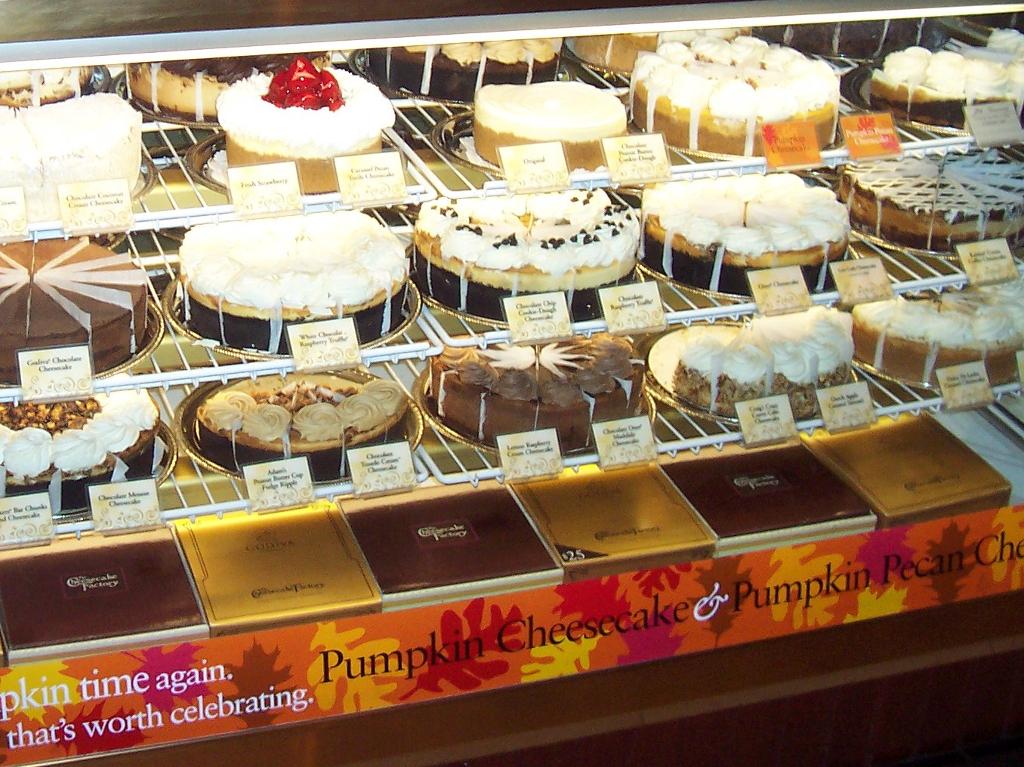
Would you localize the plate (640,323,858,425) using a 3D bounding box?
[{"bbox_3d":[0.754,-0.072,2.963,0.506,0.184,0.376,-1,26,0],"label":"plate"}]

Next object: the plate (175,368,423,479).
[{"bbox_3d":[-0.642,0.118,2.701,0.724,0.186,0.383,-2,31,2],"label":"plate"}]
